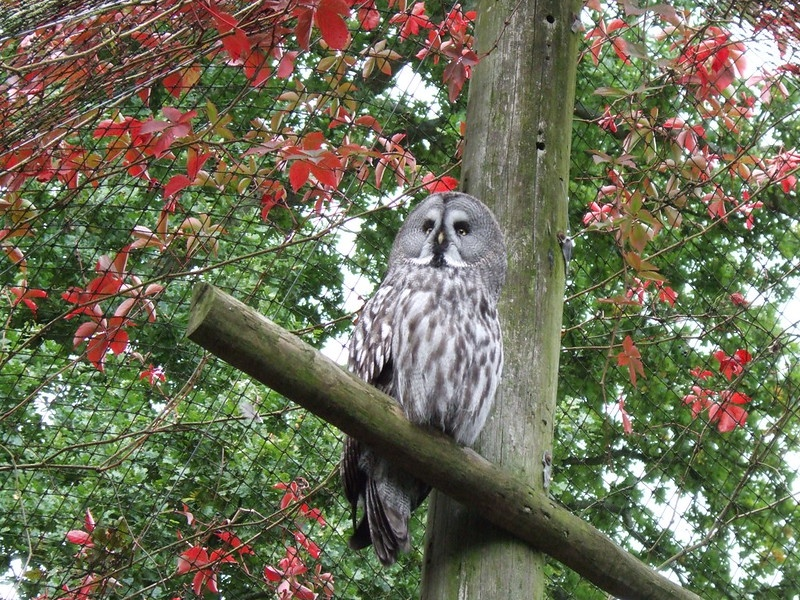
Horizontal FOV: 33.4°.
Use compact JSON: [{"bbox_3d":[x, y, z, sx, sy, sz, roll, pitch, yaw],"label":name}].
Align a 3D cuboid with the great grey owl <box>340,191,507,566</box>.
[{"bbox_3d":[0.129,0.401,7.310,0.517,2.118,0.821,18,-16,-37],"label":"great grey owl"}]
